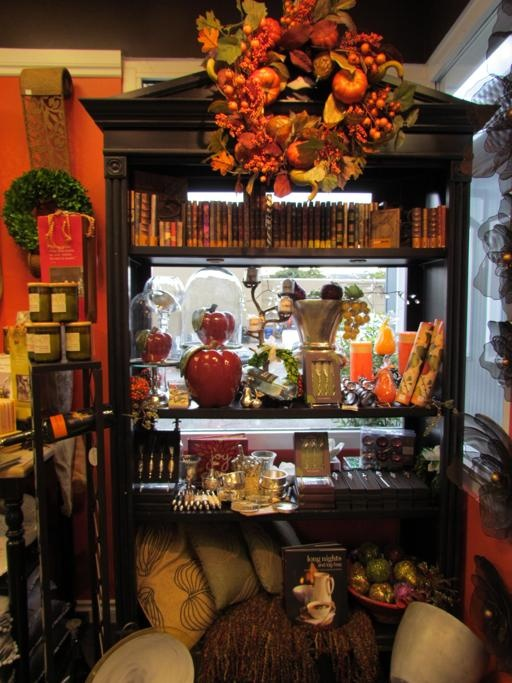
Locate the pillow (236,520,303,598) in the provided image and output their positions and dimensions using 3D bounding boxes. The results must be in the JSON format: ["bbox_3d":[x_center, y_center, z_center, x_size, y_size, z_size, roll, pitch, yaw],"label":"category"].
[{"bbox_3d":[0.039,0.777,2.100,0.084,0.271,0.292,-38,-26,32],"label":"pillow"}]

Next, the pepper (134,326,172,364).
[{"bbox_3d":[-0.357,0.015,1.990,0.123,0.123,0.073,-2,5,-9],"label":"pepper"}]

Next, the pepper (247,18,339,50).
[{"bbox_3d":[0.125,-0.936,1.749,0.255,0.074,0.091,-2,5,-6],"label":"pepper"}]

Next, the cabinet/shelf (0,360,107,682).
[{"bbox_3d":[-0.643,0.565,1.845,0.324,1.035,0.710,-3,5,-15],"label":"cabinet/shelf"}]

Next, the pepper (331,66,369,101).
[{"bbox_3d":[0.287,-0.782,1.793,0.100,0.093,0.098,-22,-4,1],"label":"pepper"}]

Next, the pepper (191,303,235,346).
[{"bbox_3d":[-0.148,-0.057,2.064,0.155,0.162,0.145,0,-3,-5],"label":"pepper"}]

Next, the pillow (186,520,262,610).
[{"bbox_3d":[-0.114,0.793,2.037,0.259,0.083,0.272,38,16,-31],"label":"pillow"}]

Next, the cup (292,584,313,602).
[{"bbox_3d":[0.161,0.860,1.942,0.058,0.042,0.058,-3,-7,0],"label":"cup"}]

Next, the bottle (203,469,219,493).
[{"bbox_3d":[-0.162,0.514,2.090,0.065,0.077,0.060,0,-5,0],"label":"bottle"}]

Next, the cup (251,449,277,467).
[{"bbox_3d":[0.028,0.455,2.204,0.072,0.043,0.069,-1,-1,0],"label":"cup"}]

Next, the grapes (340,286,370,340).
[{"bbox_3d":[0.364,-0.104,2.094,0.093,0.191,0.103,11,9,44],"label":"grapes"}]

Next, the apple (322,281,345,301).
[{"bbox_3d":[0.287,-0.180,2.110,0.077,0.072,0.073,-1,-5,4],"label":"apple"}]

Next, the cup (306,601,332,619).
[{"bbox_3d":[0.219,0.910,1.932,0.067,0.036,0.064,-1,-12,0],"label":"cup"}]

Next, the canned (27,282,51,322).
[{"bbox_3d":[-0.656,-0.117,1.729,0.060,0.116,0.039,-3,5,-18],"label":"canned"}]
